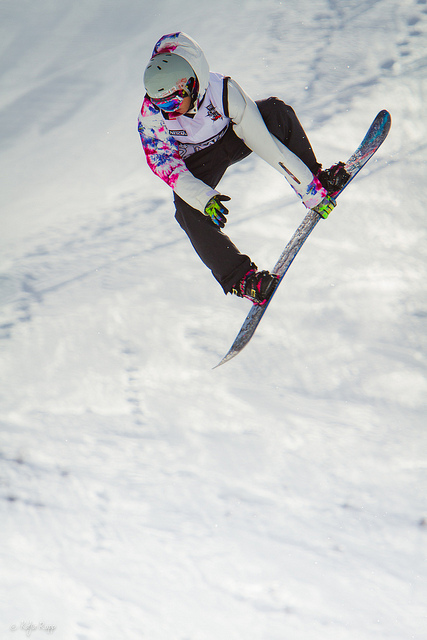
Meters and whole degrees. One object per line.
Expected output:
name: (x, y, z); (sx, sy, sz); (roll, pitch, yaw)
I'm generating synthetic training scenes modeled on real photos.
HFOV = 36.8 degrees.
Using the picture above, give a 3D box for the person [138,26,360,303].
person: (0.071, -0.914, 3.853); (0.765, 1.521, 1.133); (12, 55, 43)

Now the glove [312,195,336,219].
glove: (0.708, -0.718, 4.052); (0.055, 0.140, 0.117); (50, 39, 13)
